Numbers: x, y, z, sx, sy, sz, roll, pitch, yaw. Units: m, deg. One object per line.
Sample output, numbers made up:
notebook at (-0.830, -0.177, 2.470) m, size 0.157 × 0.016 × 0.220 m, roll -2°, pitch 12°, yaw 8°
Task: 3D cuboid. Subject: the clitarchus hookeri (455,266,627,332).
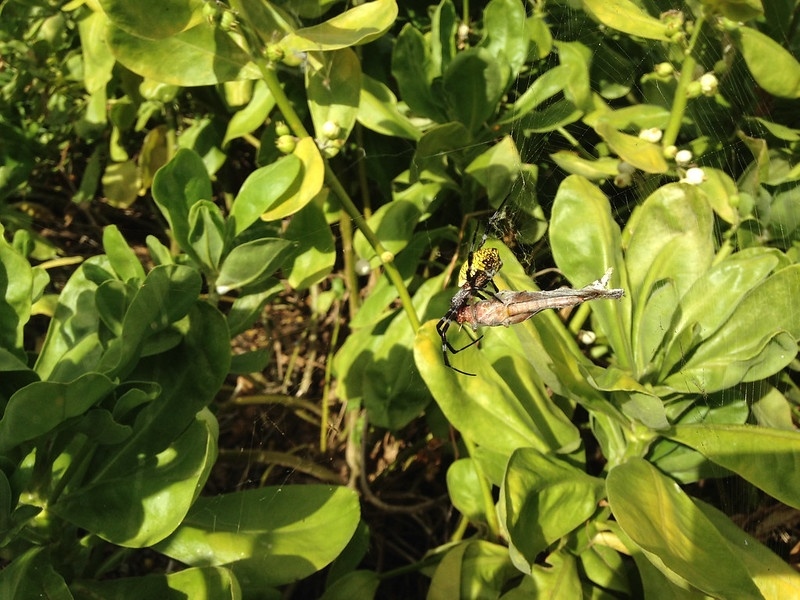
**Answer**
clitarchus hookeri at (0.283, 0.001, 1.738) m, size 0.342 × 0.123 × 0.126 m, roll -9°, pitch 10°, yaw 10°
